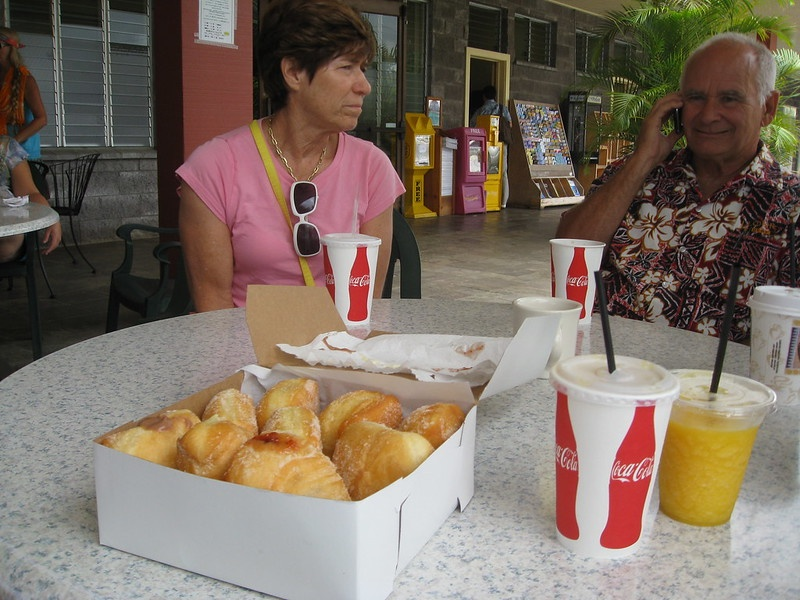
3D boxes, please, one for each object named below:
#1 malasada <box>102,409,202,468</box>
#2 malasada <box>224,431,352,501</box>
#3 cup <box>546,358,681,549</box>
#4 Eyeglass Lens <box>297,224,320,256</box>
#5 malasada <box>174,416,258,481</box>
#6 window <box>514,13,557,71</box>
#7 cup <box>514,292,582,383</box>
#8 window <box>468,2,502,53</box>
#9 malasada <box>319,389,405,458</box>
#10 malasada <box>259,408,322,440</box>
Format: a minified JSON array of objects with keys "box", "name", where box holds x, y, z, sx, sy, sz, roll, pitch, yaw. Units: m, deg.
[{"box":[-0.263,0.142,0.671,0.051,0.021,0.075,19,16,15],"name":"malasada"},{"box":[-0.107,0.166,0.602,0.099,0.049,0.087,12,19,41],"name":"malasada"},{"box":[0.219,0.163,0.655,0.118,0.202,0.093,6,17,23],"name":"cup"},{"box":[-0.252,-0.169,1.747,0.073,0.088,0.023,-7,8,-16],"name":"Eyeglass Lens"},{"box":[-0.190,0.147,0.636,0.064,0.038,0.060,8,14,20],"name":"malasada"},{"box":[2.800,-5.463,13.054,1.531,0.980,0.120,-9,19,-40],"name":"window"},{"box":[0.271,0.060,1.092,0.121,0.143,0.179,2,14,12],"name":"cup"},{"box":[1.614,-5.278,11.987,1.210,0.772,0.094,-11,14,-39],"name":"window"},{"box":[-0.045,0.141,0.765,0.081,0.050,0.081,6,11,23],"name":"malasada"},{"box":[-0.130,0.133,0.704,0.049,0.041,0.045,7,-4,-7],"name":"malasada"}]
